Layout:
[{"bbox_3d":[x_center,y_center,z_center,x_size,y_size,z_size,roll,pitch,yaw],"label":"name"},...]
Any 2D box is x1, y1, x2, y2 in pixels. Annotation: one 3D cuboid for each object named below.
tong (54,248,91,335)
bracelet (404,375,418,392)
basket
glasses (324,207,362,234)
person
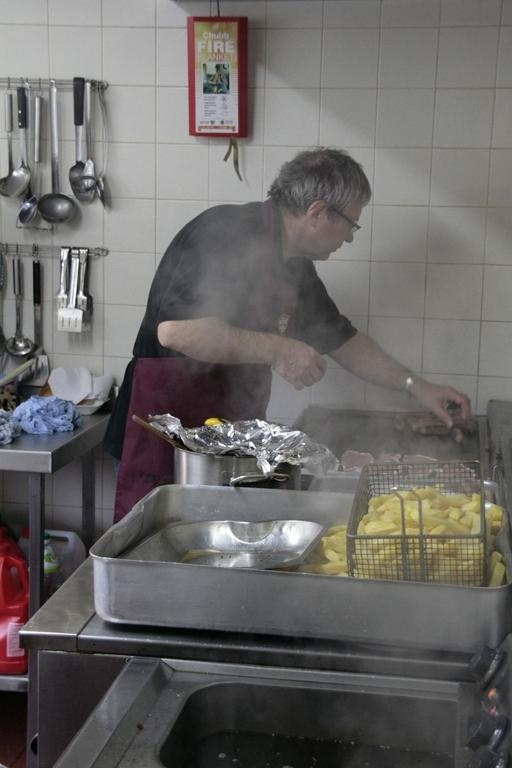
[{"bbox_3d":[-0.568,-0.287,2.178,0.092,0.271,0.068,5,11,11],"label":"tong"},{"bbox_3d":[0.372,-0.001,1.679,0.024,0.031,0.032,3,-11,0],"label":"bracelet"},{"bbox_3d":[0.181,0.140,0.789,0.099,0.084,0.171,1,15,13],"label":"basket"},{"bbox_3d":[0.189,-0.352,1.487,0.014,0.053,0.052,-36,-15,9],"label":"glasses"},{"bbox_3d":[0.075,-0.202,1.596,0.718,0.621,0.466,-2,12,-25],"label":"person"}]
